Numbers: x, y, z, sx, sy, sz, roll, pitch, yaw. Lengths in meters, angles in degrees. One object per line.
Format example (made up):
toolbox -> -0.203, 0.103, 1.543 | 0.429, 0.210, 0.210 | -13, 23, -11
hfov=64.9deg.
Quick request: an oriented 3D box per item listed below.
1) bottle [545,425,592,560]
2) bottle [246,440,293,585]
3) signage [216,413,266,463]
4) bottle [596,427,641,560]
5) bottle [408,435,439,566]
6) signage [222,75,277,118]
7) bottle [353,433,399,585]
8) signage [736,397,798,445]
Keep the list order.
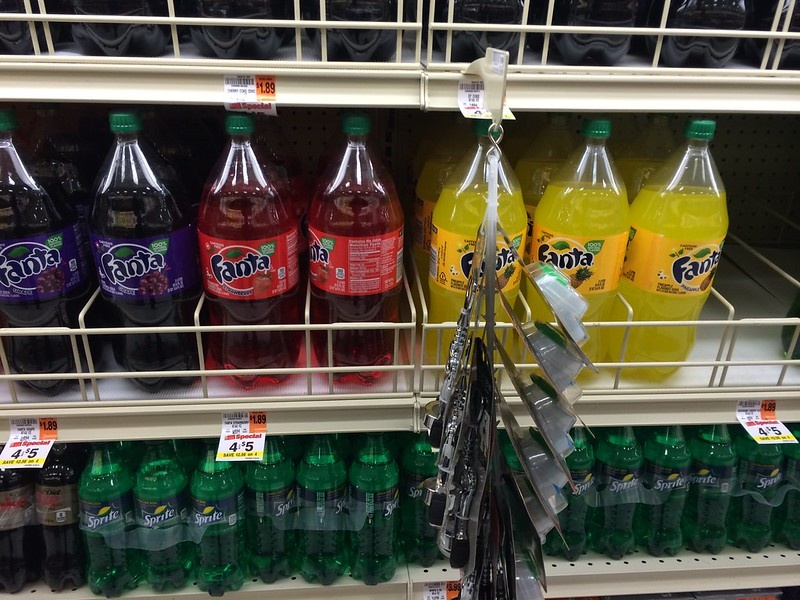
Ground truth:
bottle -> 0.519, 0.568, 1.861 | 0.161, 0.433, 0.087 | -24, 33, -37
bottle -> -0.365, 0.596, 1.773 | 0.165, 0.425, 0.108 | -12, 27, -18
signage -> -0.394, 0.334, 1.556 | 0.114, 0.040, 0.137 | 3, 57, -2
bottle -> 0.644, 0.577, 1.876 | 0.127, 0.416, 0.107 | -2, 26, 0
bottle -> 0.065, 0.577, 1.811 | 0.099, 0.417, 0.093 | -2, 26, 1
signage -> -0.330, -0.459, 1.411 | 0.115, 0.092, 0.115 | -5, 27, -5
bottle -> -0.076, 0.593, 1.782 | 0.144, 0.426, 0.147 | -2, 26, 1
signage -> 0.973, 0.327, 1.633 | 0.151, 0.115, 0.050 | 1, 6, -15
